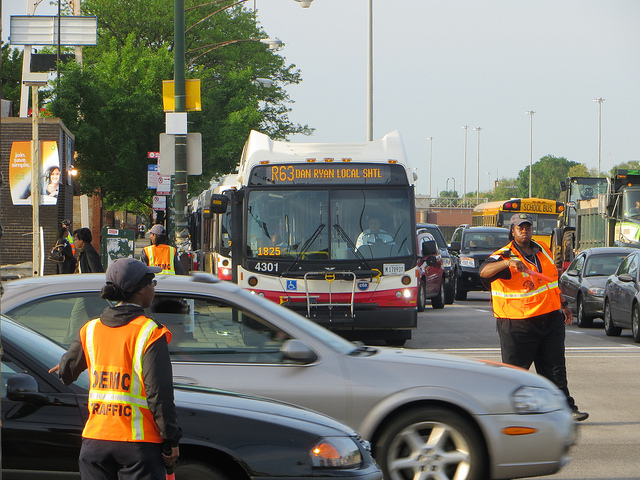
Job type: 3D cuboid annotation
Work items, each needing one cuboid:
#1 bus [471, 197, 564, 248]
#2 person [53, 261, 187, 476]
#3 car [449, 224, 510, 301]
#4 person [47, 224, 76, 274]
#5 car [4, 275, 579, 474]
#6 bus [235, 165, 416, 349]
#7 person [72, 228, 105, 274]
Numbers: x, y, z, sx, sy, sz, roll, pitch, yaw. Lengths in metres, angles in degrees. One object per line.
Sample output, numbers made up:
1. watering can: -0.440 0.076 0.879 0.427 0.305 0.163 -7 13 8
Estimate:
1. bus: 5.919 -0.509 32.356 1.875 1.804 5.840 0 -1 -8
2. person: -1.356 0.878 7.477 0.830 1.435 0.389 -1 2 2
3. car: 4.372 0.513 30.417 1.451 1.513 3.089 0 -5 -4
4. person: -4.411 0.340 18.696 0.440 1.078 0.309 -6 11 -20
5. car: 0.107 1.395 8.782 5.068 1.673 1.940 -1 3 -6
6. bus: 0.130 0.067 17.182 1.890 1.781 3.164 1 3 -1
7. person: -3.955 0.201 18.579 0.453 1.138 0.538 -8 -31 -6
